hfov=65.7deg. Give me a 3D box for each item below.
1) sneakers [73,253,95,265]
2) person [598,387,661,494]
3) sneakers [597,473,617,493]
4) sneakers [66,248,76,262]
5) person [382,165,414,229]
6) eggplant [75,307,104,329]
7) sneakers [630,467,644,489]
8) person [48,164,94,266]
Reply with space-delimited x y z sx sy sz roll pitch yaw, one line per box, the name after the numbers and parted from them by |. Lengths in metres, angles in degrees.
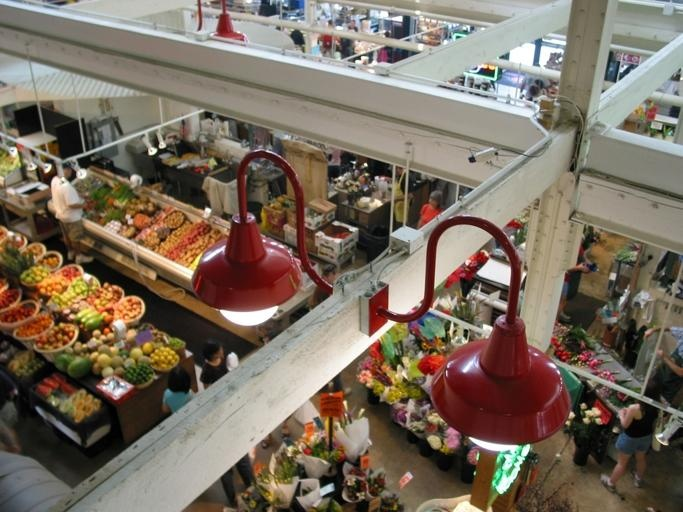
-4.435 0.051 9.158 0.299 0.300 0.144 -13 74 -20 | sneakers
3.141 1.918 5.752 0.442 1.467 0.409 -7 27 -4 | person
2.938 2.512 5.833 0.082 0.076 0.187 -21 37 -4 | sneakers
-4.690 -0.024 9.188 0.103 0.132 0.297 -1 20 -9 | sneakers
0.817 -0.843 7.740 0.443 1.457 0.578 6 63 6 | person
-3.272 0.810 6.896 0.262 0.151 0.263 7 15 -44 | eggplant
3.277 2.461 5.874 0.079 0.145 0.218 -1 28 9 | sneakers
-4.468 -0.650 8.801 0.693 1.688 0.665 36 52 9 | person
